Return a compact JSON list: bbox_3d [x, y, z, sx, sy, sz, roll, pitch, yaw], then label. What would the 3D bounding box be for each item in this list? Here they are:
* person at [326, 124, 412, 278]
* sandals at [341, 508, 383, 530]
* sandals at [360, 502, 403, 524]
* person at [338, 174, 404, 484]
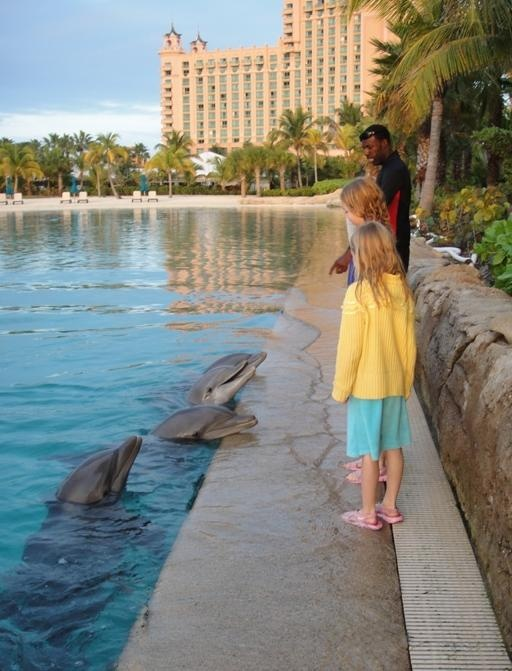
[{"bbox_3d":[0.811,-0.923,3.159,0.473,1.171,0.425,2,18,-7],"label":"person"},{"bbox_3d":[0.462,0.772,2.243,0.130,0.044,0.077,12,4,36],"label":"sandals"},{"bbox_3d":[0.592,0.796,2.340,0.067,0.045,0.123,-2,13,-14],"label":"sandals"},{"bbox_3d":[0.443,-0.095,2.674,0.524,1.368,0.603,3,15,5],"label":"person"}]
